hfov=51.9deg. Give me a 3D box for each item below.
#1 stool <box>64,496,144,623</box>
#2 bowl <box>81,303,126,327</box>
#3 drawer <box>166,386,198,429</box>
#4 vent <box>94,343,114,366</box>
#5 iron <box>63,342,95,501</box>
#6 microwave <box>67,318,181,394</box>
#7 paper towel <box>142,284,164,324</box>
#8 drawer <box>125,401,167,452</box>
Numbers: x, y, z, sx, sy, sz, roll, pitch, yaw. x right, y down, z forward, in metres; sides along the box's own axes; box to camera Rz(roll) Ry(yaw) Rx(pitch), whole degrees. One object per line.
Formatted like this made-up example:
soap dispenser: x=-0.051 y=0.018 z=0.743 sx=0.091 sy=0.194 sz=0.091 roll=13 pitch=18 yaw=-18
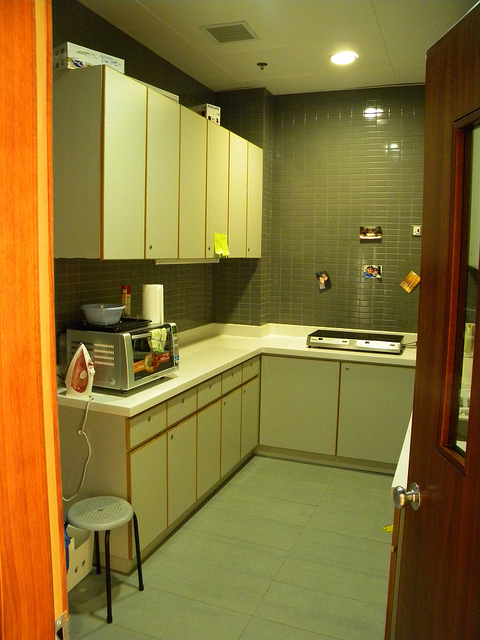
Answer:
stool: x=-0.566 y=0.958 z=2.095 sx=0.237 sy=0.502 sz=0.275 roll=3 pitch=6 yaw=32
bowl: x=-0.653 y=-0.024 z=2.388 sx=0.199 sy=0.097 sz=0.192 roll=2 pitch=5 yaw=0
drawer: x=-0.305 y=0.451 z=2.574 sx=0.099 sy=0.160 sz=0.219 roll=2 pitch=5 yaw=22
vent: x=-0.619 y=0.161 z=2.252 sx=0.119 sy=0.094 sz=0.023 roll=4 pitch=5 yaw=25
iron: x=-0.732 y=0.373 z=2.217 sx=0.103 sy=0.512 sz=0.067 roll=6 pitch=7 yaw=-2
microwave: x=-0.566 y=0.067 z=2.389 sx=0.284 sy=0.347 sz=0.458 roll=1 pitch=5 yaw=17
paper towel: x=-0.449 y=-0.104 z=2.661 sx=0.081 sy=0.180 sz=0.098 roll=-11 pitch=8 yaw=-13
drawer: x=-0.429 y=0.490 z=2.296 sx=0.023 sy=0.162 sz=0.337 roll=3 pitch=5 yaw=22
